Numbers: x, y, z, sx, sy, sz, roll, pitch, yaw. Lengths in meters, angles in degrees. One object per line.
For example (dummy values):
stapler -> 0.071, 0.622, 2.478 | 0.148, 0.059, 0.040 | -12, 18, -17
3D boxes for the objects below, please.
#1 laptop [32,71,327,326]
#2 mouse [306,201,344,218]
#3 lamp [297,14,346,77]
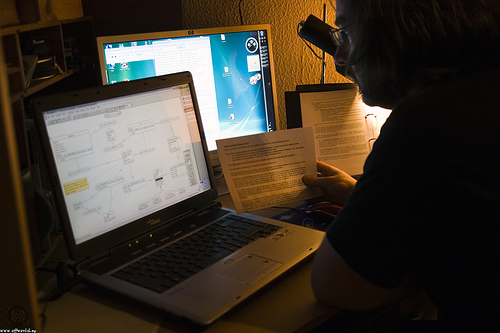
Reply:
laptop -> -0.160, 0.029, 0.891 | 0.506, 0.435, 0.484 | 13, 25, 37
mouse -> 0.230, 0.122, 1.141 | 0.103, 0.032, 0.058 | 5, 10, 26
lamp -> 0.280, -0.441, 1.370 | 0.262, 0.140, 0.102 | 35, 19, 18
